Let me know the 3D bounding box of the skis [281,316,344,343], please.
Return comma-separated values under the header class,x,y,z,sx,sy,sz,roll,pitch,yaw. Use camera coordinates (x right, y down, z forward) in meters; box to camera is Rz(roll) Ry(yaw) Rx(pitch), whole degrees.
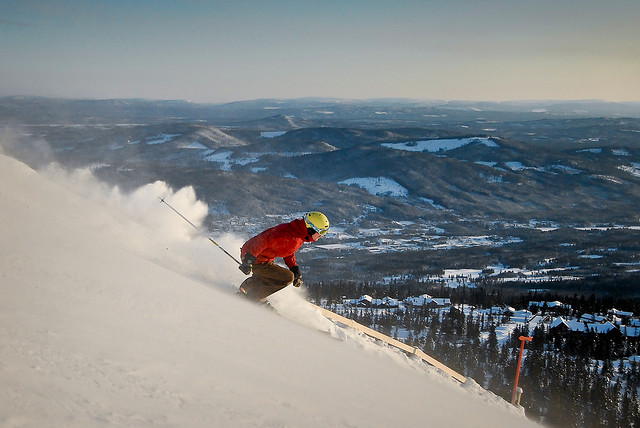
class,x,y,z,sx,sy,sz,roll,pitch,yaw
skis,-0.276,3.351,18.559,1.697,0.081,0.202,24,7,-24
